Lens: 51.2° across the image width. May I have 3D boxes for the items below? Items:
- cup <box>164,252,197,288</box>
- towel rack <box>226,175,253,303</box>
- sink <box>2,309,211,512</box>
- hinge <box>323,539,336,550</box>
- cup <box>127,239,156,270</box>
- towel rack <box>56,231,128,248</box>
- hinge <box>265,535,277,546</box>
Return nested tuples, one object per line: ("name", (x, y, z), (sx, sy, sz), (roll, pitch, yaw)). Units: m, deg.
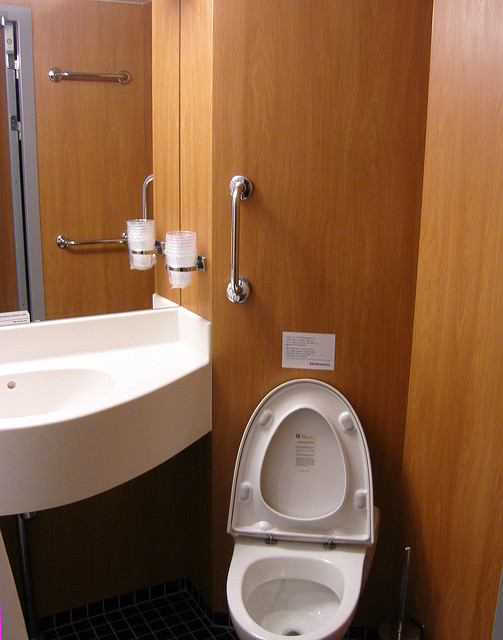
("cup", (-0.191, -0.133, 1.426), (0.064, 0.118, 0.080), (7, 16, 16))
("towel rack", (-0.036, -0.188, 1.335), (0.045, 0.329, 0.070), (4, 17, 8))
("sink", (-0.366, 0.174, 1.371), (0.574, 0.315, 0.445), (-8, 17, -39))
("hinge", (0.205, 0.586, 1.376), (0.033, 0.029, 0.016), (3, 10, 1))
("cup", (-0.318, -0.191, 1.530), (0.058, 0.111, 0.075), (-1, 17, -7))
("towel rack", (-0.441, -0.222, 1.462), (0.193, 0.049, 0.004), (-3, 10, -27))
("hinge", (0.051, 0.585, 1.391), (0.030, 0.028, 0.010), (3, 10, -2))
